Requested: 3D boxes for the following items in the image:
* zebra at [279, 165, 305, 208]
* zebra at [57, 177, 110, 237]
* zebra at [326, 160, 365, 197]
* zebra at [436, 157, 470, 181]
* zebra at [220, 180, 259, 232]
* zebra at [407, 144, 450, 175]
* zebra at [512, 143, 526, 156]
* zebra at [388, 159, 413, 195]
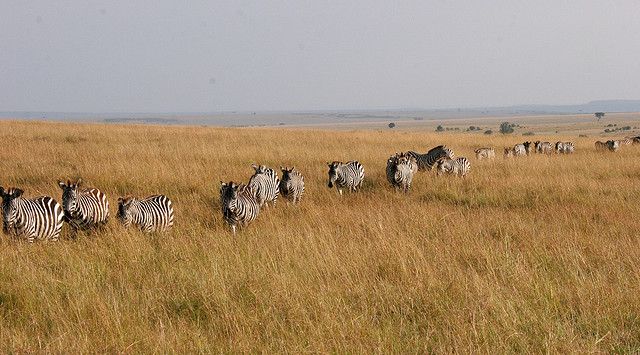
[{"bbox_3d":[-1.157,0.337,25.670,0.866,1.615,1.237,3,8,4],"label":"zebra"},{"bbox_3d":[-8.232,1.019,22.378,0.947,2.066,1.484,6,9,20],"label":"zebra"},{"bbox_3d":[1.144,0.030,27.049,0.767,1.470,2.175,8,10,30],"label":"zebra"},{"bbox_3d":[6.693,-0.369,31.545,2.237,1.349,0.758,-7,16,-31],"label":"zebra"},{"bbox_3d":[-2.838,0.980,22.523,0.528,1.810,1.289,11,12,44],"label":"zebra"},{"bbox_3d":[5.445,-0.875,32.275,2.713,1.792,0.772,11,22,40],"label":"zebra"},{"bbox_3d":[13.034,-1.831,41.382,0.698,0.699,1.441,7,9,29],"label":"zebra"},{"bbox_3d":[3.516,-0.078,27.200,0.693,1.500,1.180,9,10,34],"label":"zebra"}]
